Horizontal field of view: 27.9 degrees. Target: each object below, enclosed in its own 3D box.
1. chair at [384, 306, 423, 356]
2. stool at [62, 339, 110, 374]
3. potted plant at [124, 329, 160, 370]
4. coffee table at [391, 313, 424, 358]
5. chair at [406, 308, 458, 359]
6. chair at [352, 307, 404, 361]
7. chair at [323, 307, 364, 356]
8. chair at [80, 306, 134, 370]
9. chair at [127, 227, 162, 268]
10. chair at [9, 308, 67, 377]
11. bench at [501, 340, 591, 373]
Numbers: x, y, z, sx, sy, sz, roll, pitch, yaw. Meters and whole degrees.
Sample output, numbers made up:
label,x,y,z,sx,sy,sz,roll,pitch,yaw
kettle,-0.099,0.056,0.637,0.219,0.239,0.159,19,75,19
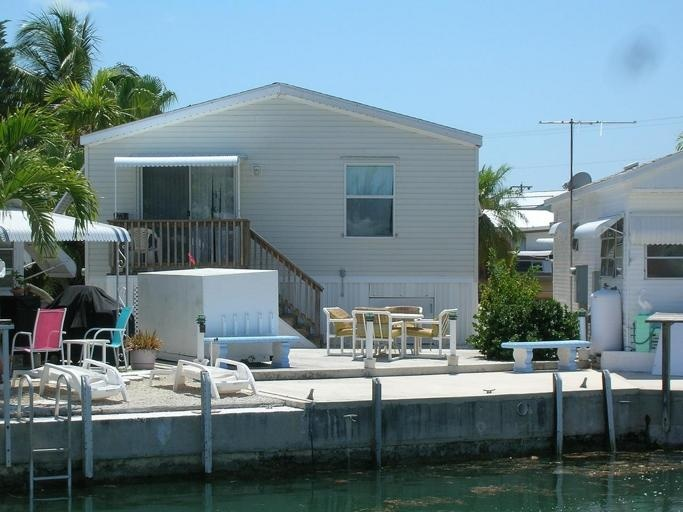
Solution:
label,x,y,z,sx,sy,sz,roll,pitch,yaw
chair,1.356,1.618,29.869,0.796,0.701,0.870,0,2,-2
stool,-4.865,1.880,26.270,0.665,0.698,0.658,3,-3,-42
potted plant,-4.015,1.883,27.660,0.634,0.773,0.694,2,-4,-2
coffee table,1.364,1.707,29.098,0.749,0.960,0.858,-1,-2,28
chair,1.958,1.620,29.337,1.029,1.144,0.873,1,-2,6
chair,0.825,1.642,29.176,0.808,1.161,1.095,0,1,15
chair,-0.046,1.631,29.666,0.768,1.107,0.909,0,1,18
chair,-4.579,1.625,26.625,0.942,1.346,1.063,4,1,2
chair,-4.517,-0.180,31.550,0.749,1.146,0.788,0,0,-18
chair,-5.721,1.695,25.992,0.850,1.363,0.964,-1,3,-24
bench,4.195,2.092,28.573,1.923,0.641,1.411,-1,-6,-5
